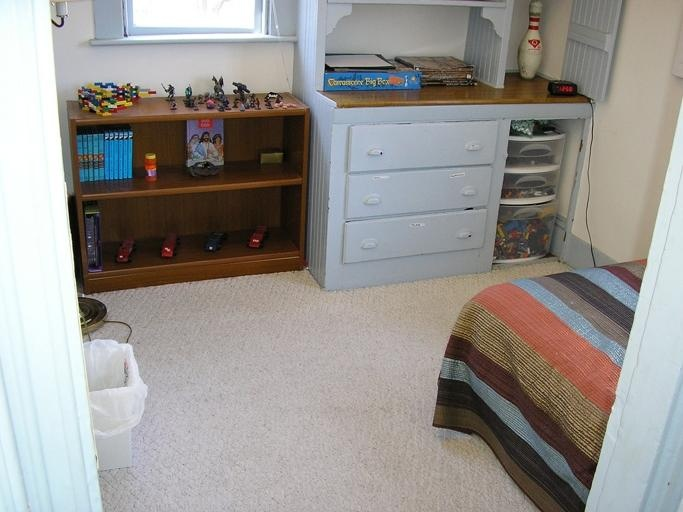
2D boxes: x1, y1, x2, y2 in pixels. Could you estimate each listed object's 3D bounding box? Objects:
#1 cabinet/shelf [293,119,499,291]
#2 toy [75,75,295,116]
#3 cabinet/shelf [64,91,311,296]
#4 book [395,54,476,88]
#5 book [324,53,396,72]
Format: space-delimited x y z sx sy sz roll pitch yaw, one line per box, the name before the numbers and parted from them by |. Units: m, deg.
cabinet/shelf | 0.393 -0.406 3.264 1.073 1.040 0.525 -7 28 -17
toy | -0.926 -0.890 2.900 0.903 0.155 0.274 -4 41 -16
cabinet/shelf | -0.856 -0.364 3.069 1.254 0.930 0.415 -8 28 -24
book | 0.606 -1.170 3.275 0.509 0.155 0.365 -9 27 -18
book | 0.083 -1.156 3.095 0.419 0.073 0.320 -6 26 -12
